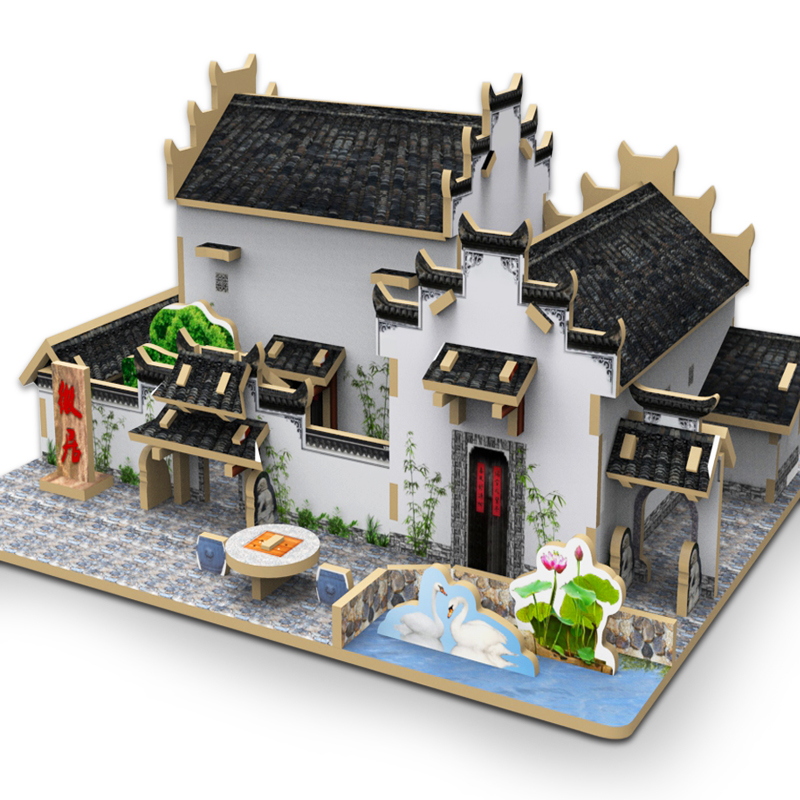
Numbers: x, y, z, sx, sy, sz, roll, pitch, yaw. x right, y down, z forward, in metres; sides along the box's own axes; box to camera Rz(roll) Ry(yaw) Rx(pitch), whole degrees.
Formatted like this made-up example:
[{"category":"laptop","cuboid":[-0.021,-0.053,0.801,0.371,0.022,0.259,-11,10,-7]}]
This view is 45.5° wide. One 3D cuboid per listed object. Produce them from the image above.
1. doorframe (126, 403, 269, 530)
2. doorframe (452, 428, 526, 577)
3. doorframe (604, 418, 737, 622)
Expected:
[{"category":"doorframe","cuboid":[-3.152,1.088,15.337,2.106,1.925,1.005,11,21,18]},{"category":"doorframe","cuboid":[1.292,1.508,13.843,1.138,2.116,1.009,4,1,10]},{"category":"doorframe","cuboid":[3.787,1.497,13.547,1.413,2.588,1.437,8,28,27]}]
